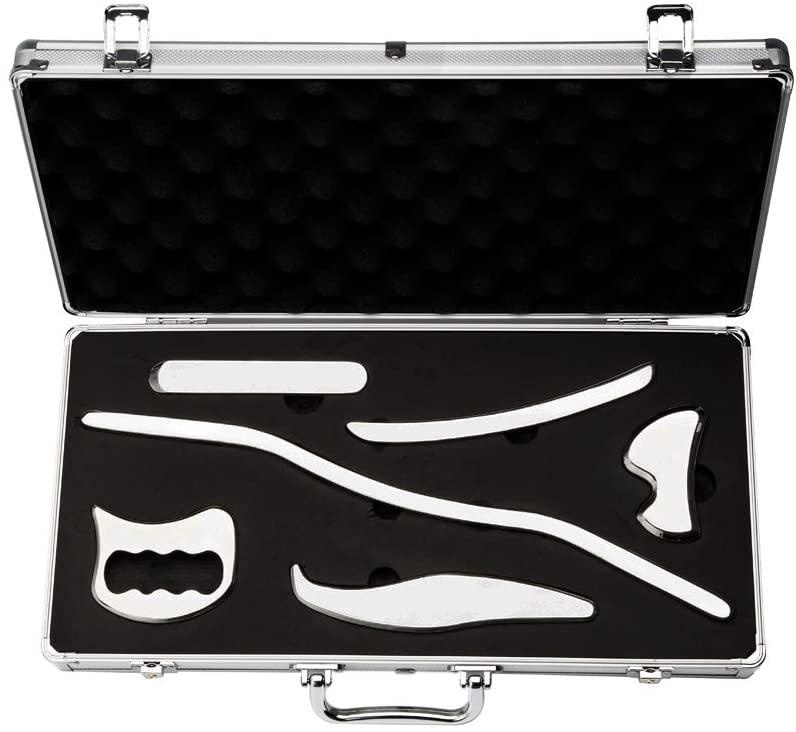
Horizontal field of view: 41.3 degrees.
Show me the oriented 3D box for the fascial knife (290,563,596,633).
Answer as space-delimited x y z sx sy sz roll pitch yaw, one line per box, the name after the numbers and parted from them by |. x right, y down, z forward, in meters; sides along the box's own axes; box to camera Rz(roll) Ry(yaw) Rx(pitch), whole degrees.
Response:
0.093 0.500 2.268 0.653 0.132 0.024 1 -17 1 | fascial knife

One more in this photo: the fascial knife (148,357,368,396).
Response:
-0.318 0.027 2.458 0.475 0.067 0.032 0 -17 4 | fascial knife

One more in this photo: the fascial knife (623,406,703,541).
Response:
0.603 0.228 2.356 0.215 0.326 0.026 -7 -19 12 | fascial knife

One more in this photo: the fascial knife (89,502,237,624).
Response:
-0.519 0.433 2.307 0.325 0.244 0.029 -1 -17 6 | fascial knife
